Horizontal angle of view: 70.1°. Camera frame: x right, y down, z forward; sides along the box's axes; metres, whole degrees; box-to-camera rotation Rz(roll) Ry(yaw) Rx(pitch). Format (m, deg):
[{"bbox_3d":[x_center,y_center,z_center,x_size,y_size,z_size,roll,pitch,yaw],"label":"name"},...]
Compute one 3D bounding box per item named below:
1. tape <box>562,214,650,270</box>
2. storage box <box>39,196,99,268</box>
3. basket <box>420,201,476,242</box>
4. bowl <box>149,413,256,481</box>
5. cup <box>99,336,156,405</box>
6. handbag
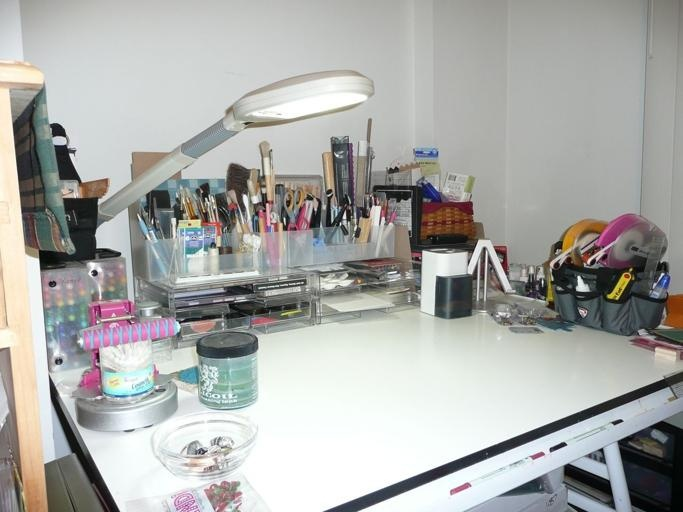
[{"bbox_3d":[0.740,-0.034,1.349,0.198,0.166,0.077,-11,-15,12],"label":"tape"},{"bbox_3d":[-0.637,-0.064,1.281,0.198,0.173,0.226,-3,2,-19],"label":"storage box"},{"bbox_3d":[0.390,-0.124,1.739,0.271,0.156,0.084,-10,16,-33],"label":"basket"},{"bbox_3d":[-0.235,0.318,0.836,0.178,0.058,0.142,-4,14,-10],"label":"bowl"},{"bbox_3d":[-0.400,0.213,0.949,0.108,0.128,0.110,0,9,0],"label":"cup"},{"bbox_3d":[0.755,0.077,1.350,0.189,0.210,0.264,-2,14,-36],"label":"handbag"}]
